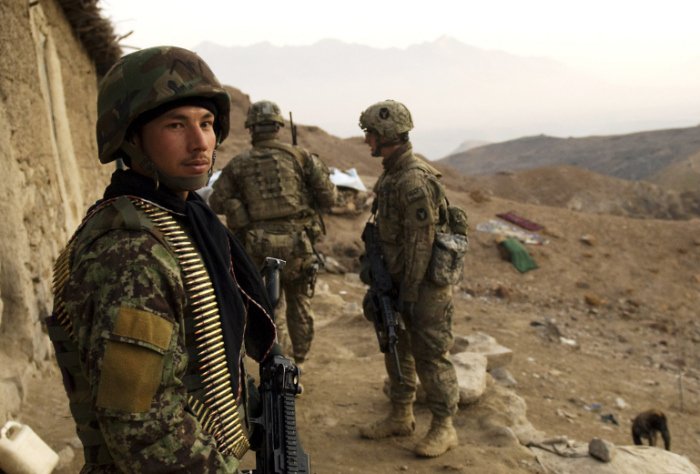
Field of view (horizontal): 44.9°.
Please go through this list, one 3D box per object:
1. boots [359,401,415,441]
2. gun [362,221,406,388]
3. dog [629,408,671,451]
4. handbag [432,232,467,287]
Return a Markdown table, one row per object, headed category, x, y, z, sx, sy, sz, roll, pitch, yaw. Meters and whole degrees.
| category | x | y | z | sx | sy | sz | roll | pitch | yaw |
| --- | --- | --- | --- | --- | --- | --- | --- | --- | --- |
| boots | 0.419 | 2.380 | 10.885 | 0.779 | 0.507 | 0.342 | 3 | -3 | -2 |
| gun | 0.389 | 0.815 | 10.897 | 0.804 | 1.873 | 0.710 | -6 | 15 | -20 |
| dog | 3.991 | 2.534 | 11.325 | 0.439 | 0.588 | 0.430 | -10 | 9 | -41 |
| handbag | 1.257 | 0.266 | 10.645 | 0.364 | 0.645 | 0.501 | -3 | -1 | 28 |
